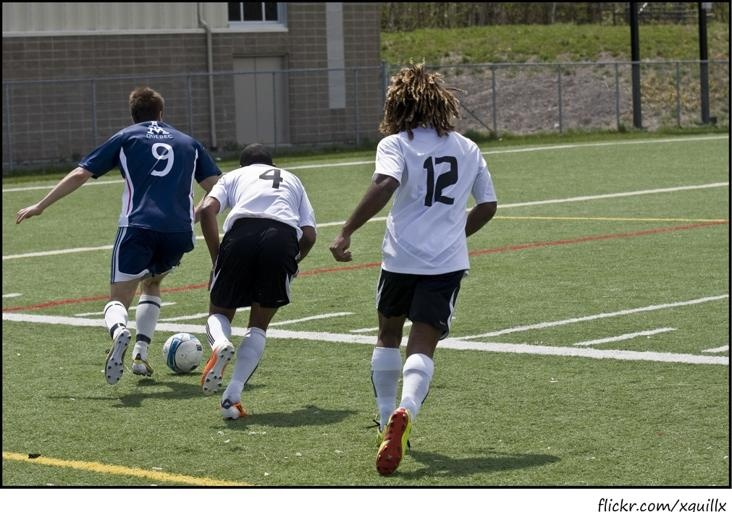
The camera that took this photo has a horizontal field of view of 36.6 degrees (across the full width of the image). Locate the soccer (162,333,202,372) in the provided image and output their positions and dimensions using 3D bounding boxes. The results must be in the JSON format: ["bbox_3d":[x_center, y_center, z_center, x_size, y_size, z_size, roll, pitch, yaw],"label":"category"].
[{"bbox_3d":[-1.792,0.926,11.068,0.408,0.356,0.361,9,23,16],"label":"soccer"}]

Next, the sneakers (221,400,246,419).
[{"bbox_3d":[-1.169,1.361,9.840,0.210,0.181,0.091,-2,5,-9],"label":"sneakers"}]

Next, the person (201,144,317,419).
[{"bbox_3d":[-0.976,0.213,10.129,1.008,2.406,0.810,-2,6,-8],"label":"person"}]

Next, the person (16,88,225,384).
[{"bbox_3d":[-2.086,-0.251,10.768,1.404,2.738,1.057,-5,7,-35],"label":"person"}]

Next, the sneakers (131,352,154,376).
[{"bbox_3d":[-2.173,1.054,10.731,0.139,0.134,0.283,-4,-28,11],"label":"sneakers"}]

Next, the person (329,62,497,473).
[{"bbox_3d":[0.421,-0.102,9.428,0.789,3.007,1.142,4,7,42],"label":"person"}]
